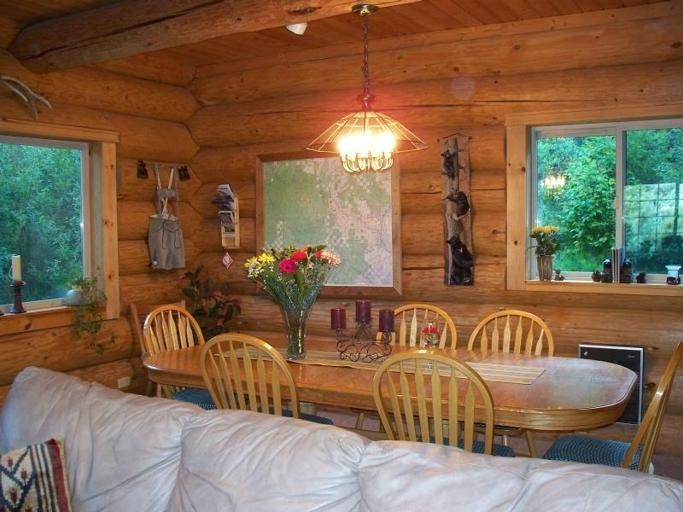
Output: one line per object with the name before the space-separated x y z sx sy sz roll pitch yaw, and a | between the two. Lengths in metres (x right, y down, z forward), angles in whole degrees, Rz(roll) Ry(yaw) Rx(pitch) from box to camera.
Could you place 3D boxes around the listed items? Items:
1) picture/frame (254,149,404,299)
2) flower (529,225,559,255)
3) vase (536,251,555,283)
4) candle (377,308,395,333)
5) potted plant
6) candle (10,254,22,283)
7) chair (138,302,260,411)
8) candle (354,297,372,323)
picture/frame | -0.041 -0.291 4.567 1.941 1.231 0.088 -1 0 29
flower | 1.661 -0.145 4.267 0.331 0.252 0.263 2 7 19
vase | 1.657 0.092 4.225 0.121 0.223 0.088 -3 5 8
candle | 0.280 0.414 3.337 0.156 0.189 0.144 0 1 3
potted plant | -2.289 0.550 4.724 0.156 0.707 0.381 -1 6 24
candle | -2.718 0.099 4.333 0.080 0.214 0.261 -7 6 -31
chair | -1.154 0.805 3.921 0.813 0.803 0.716 -2 4 -20
candle | 0.140 0.353 3.376 0.183 0.154 0.158 1 1 1
